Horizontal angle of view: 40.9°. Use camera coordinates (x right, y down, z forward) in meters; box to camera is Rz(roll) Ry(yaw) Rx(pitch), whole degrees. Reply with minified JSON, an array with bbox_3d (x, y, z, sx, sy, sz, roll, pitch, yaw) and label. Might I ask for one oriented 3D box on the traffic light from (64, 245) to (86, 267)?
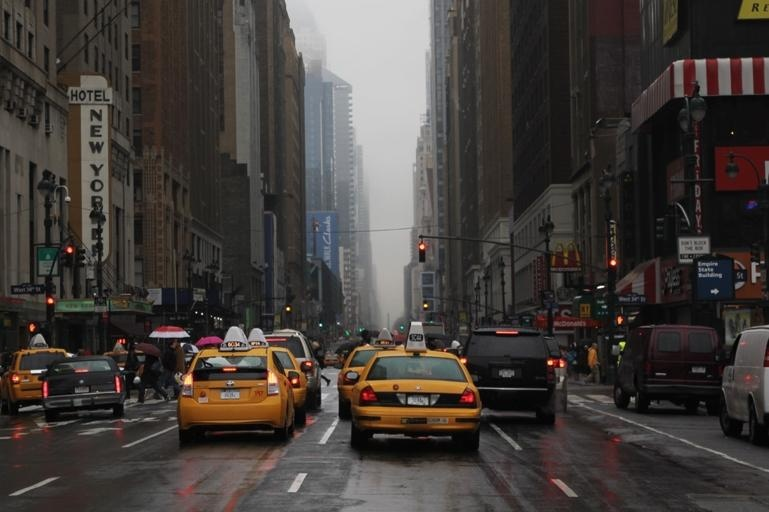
[{"bbox_3d":[-15.500,0.051,51.533,1.225,1.285,1.316,-1,-3,1],"label":"traffic light"}]
